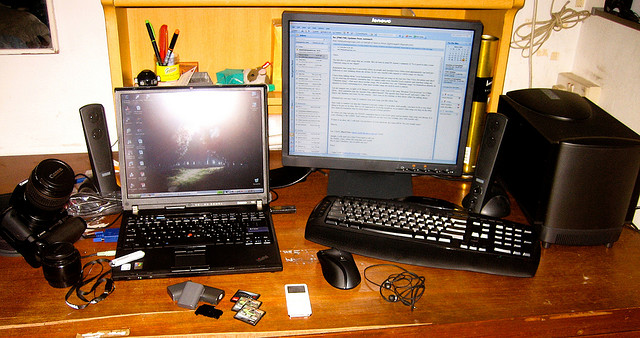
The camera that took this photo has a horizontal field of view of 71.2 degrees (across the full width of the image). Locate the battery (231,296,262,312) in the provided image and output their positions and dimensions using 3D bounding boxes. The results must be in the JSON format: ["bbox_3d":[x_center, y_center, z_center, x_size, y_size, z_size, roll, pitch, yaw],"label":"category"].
[{"bbox_3d":[-0.253,0.468,1.542,0.090,0.030,0.049,4,17,12],"label":"battery"}]

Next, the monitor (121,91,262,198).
[{"bbox_3d":[-0.503,-0.095,1.783,0.717,0.425,0.028,0,3,24],"label":"monitor"}]

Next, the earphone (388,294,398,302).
[{"bbox_3d":[0.253,0.457,1.568,0.019,0.007,0.025,11,19,20],"label":"earphone"}]

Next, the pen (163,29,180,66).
[{"bbox_3d":[-0.674,-0.514,2.018,0.034,0.278,0.030,1,57,-28],"label":"pen"}]

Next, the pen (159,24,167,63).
[{"bbox_3d":[-0.707,-0.572,2.023,0.042,0.148,0.019,4,10,8],"label":"pen"}]

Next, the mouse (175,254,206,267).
[{"bbox_3d":[-0.475,0.337,1.637,0.090,0.036,0.015,0,-15,-7],"label":"mouse"}]

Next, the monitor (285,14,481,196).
[{"bbox_3d":[0.242,-0.277,1.826,0.903,0.641,0.325,3,24,-1],"label":"monitor"}]

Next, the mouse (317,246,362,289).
[{"bbox_3d":[0.062,0.357,1.640,0.111,0.045,0.155,-6,29,-39],"label":"mouse"}]

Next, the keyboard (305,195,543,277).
[{"bbox_3d":[0.388,0.257,1.724,0.879,0.227,0.197,2,18,6],"label":"keyboard"}]

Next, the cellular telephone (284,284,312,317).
[{"bbox_3d":[-0.072,0.455,1.568,0.094,0.104,0.027,-12,-20,22],"label":"cellular telephone"}]
